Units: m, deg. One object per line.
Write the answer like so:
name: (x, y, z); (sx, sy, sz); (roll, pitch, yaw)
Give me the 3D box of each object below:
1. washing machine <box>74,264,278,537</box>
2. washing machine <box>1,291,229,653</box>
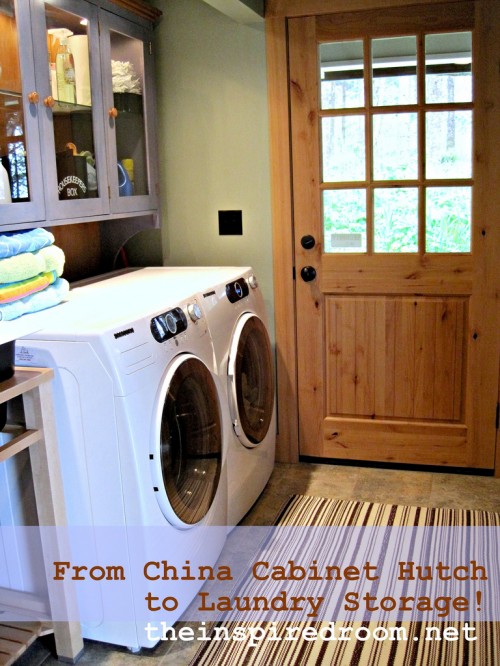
washing machine: (-0.065, 0.118, 2.137); (0.829, 1.237, 0.903); (2, 20, 20)
washing machine: (-0.320, 0.330, 1.462); (0.625, 0.836, 0.605); (2, 12, 19)
